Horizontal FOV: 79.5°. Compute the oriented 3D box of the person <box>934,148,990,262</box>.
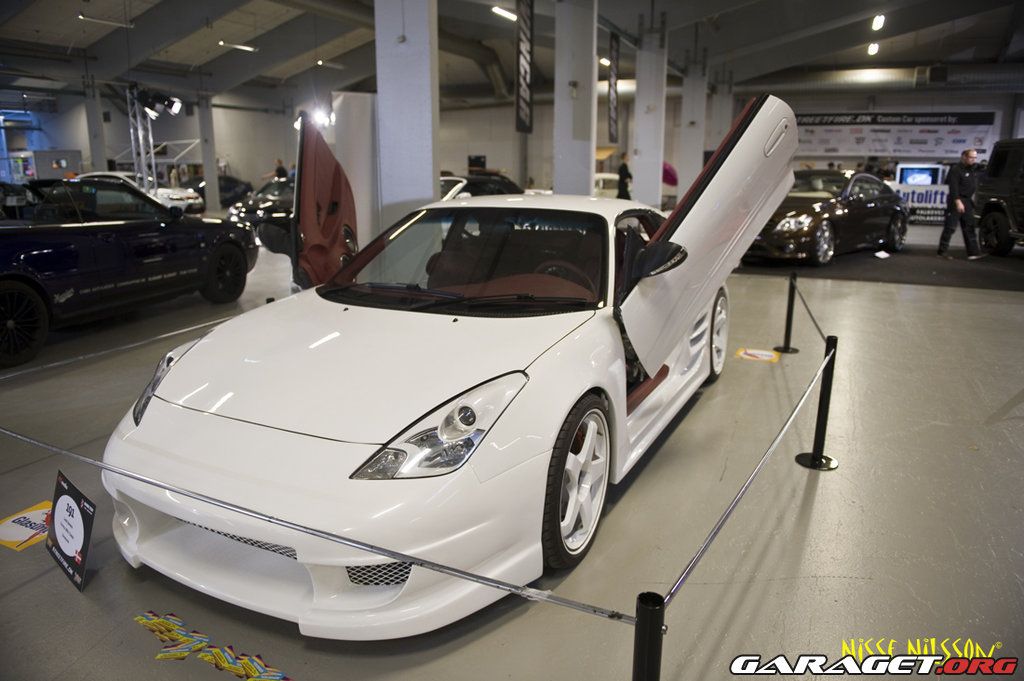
[{"bbox_3d":[8.203,-2.456,11.176,0.987,1.919,0.507,-12,18,-39],"label":"person"}]

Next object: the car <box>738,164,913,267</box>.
[{"bbox_3d":[5.787,-2.205,11.115,4.151,1.359,1.983,-12,16,-43],"label":"car"}]

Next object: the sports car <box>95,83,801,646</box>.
[{"bbox_3d":[-0.102,-0.098,3.728,2.337,1.886,3.765,10,24,33],"label":"sports car"}]
